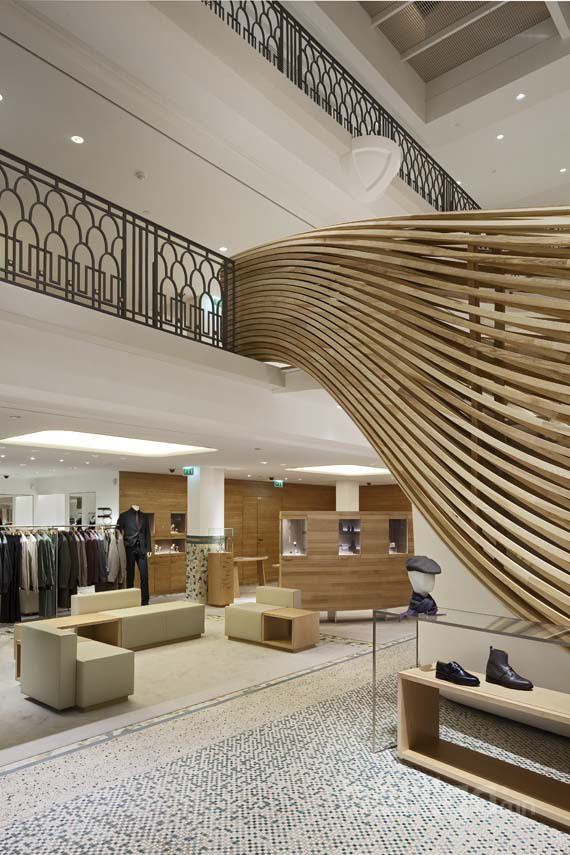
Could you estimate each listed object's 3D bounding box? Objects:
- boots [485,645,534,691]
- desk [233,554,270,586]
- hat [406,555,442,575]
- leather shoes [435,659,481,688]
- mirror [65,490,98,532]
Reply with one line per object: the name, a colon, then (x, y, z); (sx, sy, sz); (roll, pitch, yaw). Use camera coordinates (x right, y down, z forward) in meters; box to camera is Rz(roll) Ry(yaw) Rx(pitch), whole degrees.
boots: (1.152, 1.271, 2.887); (0.112, 0.231, 0.295); (4, -7, -36)
desk: (-0.689, 3.371, 13.303); (1.063, 0.777, 1.138); (0, -6, -9)
hat: (0.844, 0.823, 3.261); (0.192, 0.087, 0.163); (5, 0, 14)
leather shoes: (0.954, 1.328, 2.969); (0.083, 0.103, 0.230); (3, -8, -34)
mirror: (-4.298, 1.761, 11.728); (0.058, 0.881, 0.781); (3, -4, -43)
